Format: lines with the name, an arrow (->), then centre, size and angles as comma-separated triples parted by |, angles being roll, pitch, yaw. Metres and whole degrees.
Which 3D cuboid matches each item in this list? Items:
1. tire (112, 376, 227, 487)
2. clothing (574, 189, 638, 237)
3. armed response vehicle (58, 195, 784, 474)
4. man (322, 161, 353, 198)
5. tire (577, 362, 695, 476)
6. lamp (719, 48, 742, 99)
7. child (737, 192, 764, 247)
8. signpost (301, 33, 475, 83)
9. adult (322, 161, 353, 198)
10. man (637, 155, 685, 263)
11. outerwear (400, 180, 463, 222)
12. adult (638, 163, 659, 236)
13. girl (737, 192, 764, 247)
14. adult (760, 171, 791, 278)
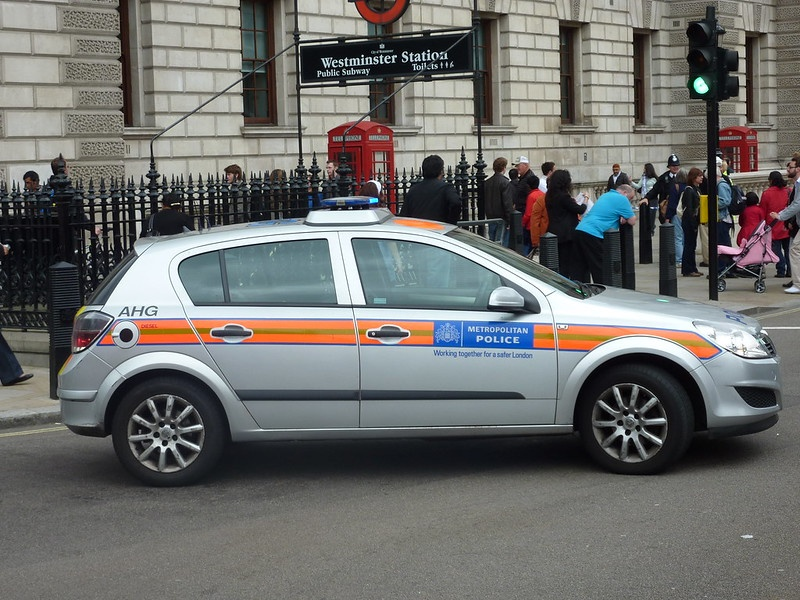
tire -> -1.698, 0.930, 6.783 | 0.667, 0.744, 0.231 | 6, 6, 4
clothing -> 3.053, -1.152, 13.653 | 0.820, 0.910, 0.666 | 11, -12, 10
armed response vehicle -> -0.046, 0.363, 7.545 | 4.294, 1.893, 2.291 | -2, 3, 1
man -> -0.888, -1.678, 13.062 | 0.408, 0.486, 0.634 | -2, 8, -4
tire -> 1.720, 0.834, 6.698 | 0.732, 0.817, 0.275 | 0, 5, 10
lamp -> 4.721, -3.247, 13.311 | 0.248, 0.718, 0.570 | 1, 8, 17
child -> 6.509, -1.305, 17.030 | 0.521, 1.326, 0.505 | -2, -1, 44
signpost -> -0.280, -4.033, 15.711 | 2.826, 0.942, 0.158 | -3, -23, 3
adult -> -0.888, -1.678, 13.062 | 0.408, 0.486, 0.634 | -2, 8, -4
man -> 5.952, -2.038, 20.080 | 1.326, 2.100, 0.565 | 5, 23, 24
outerwear -> 0.393, -1.355, 12.707 | 0.808, 0.709, 0.502 | 5, 36, 9
adult -> 6.242, -2.466, 23.276 | 0.505, 1.797, 0.647 | -11, 15, -26
girl -> 6.504, -1.311, 17.062 | 0.521, 1.341, 0.530 | -5, 2, 22
adult -> 6.929, -1.405, 17.099 | 0.570, 1.844, 0.579 | -9, 8, -22
